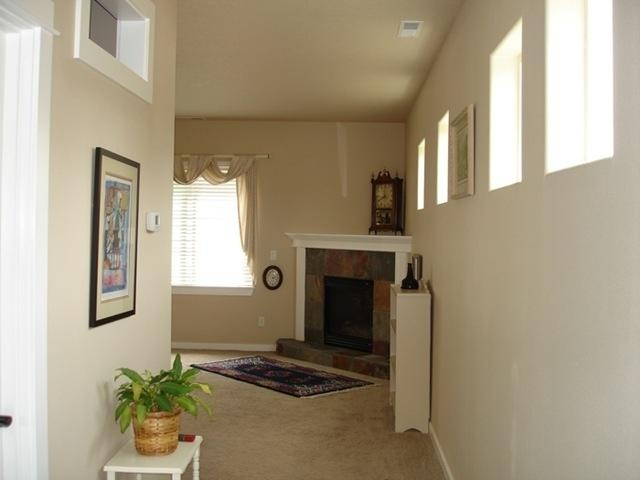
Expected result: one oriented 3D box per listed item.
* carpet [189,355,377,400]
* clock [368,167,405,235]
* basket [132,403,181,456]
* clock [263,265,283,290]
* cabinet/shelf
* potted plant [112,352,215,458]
[{"bbox_3d":[-0.353,1.501,5.552,1.808,0.120,1.011,7,8,35],"label":"carpet"},{"bbox_3d":[0.838,-0.454,6.311,0.455,0.802,0.441,3,6,14],"label":"clock"},{"bbox_3d":[-0.765,0.911,2.375,0.207,0.193,0.212,0,-5,39],"label":"basket"},{"bbox_3d":[-0.627,0.518,6.681,0.271,0.378,0.044,1,-1,5],"label":"clock"},{"bbox_3d":[0.755,0.996,4.135,0.278,1.282,1.097,1,0,5],"label":"cabinet/shelf"},{"bbox_3d":[-0.790,0.782,2.508,0.354,0.367,0.475,3,1,10],"label":"potted plant"}]
